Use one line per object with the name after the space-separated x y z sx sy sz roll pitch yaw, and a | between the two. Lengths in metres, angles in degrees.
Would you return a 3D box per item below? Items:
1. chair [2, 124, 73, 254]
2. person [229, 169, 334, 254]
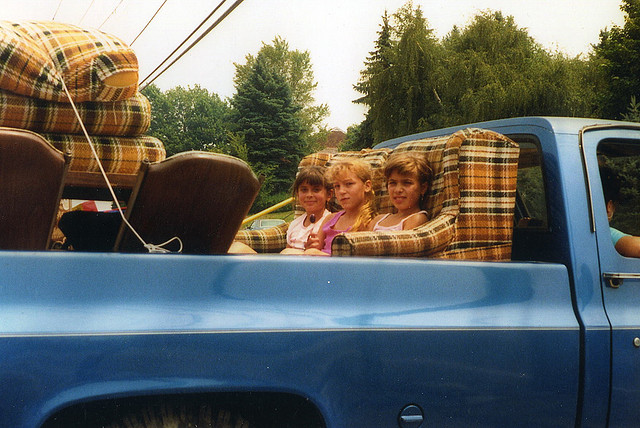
-1.243 -0.090 2.637 0.268 0.468 0.258 8 -11 -27 | chair
-0.239 -0.008 4.492 0.614 0.807 0.517 3 -7 -13 | person
